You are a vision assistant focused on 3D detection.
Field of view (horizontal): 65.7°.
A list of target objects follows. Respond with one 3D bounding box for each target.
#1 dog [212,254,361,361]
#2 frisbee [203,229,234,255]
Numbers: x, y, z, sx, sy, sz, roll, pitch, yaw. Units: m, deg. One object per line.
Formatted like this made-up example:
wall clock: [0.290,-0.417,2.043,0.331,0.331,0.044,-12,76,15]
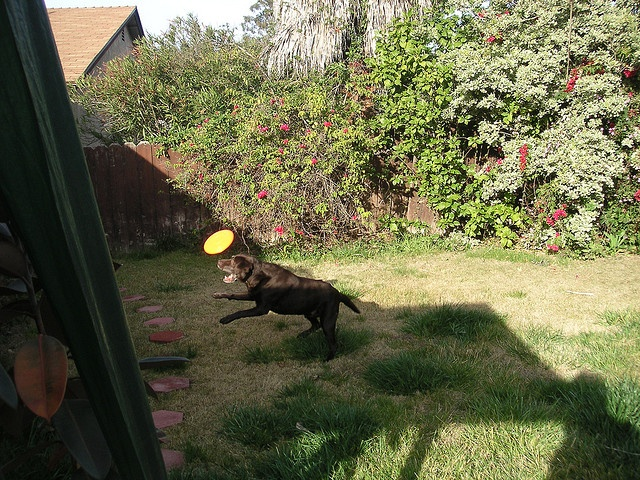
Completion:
dog: [-0.374,0.568,4.509,1.101,0.851,0.536,0,12,9]
frisbee: [-1.611,0.086,7.699,0.412,0.099,0.418,8,-50,-51]
